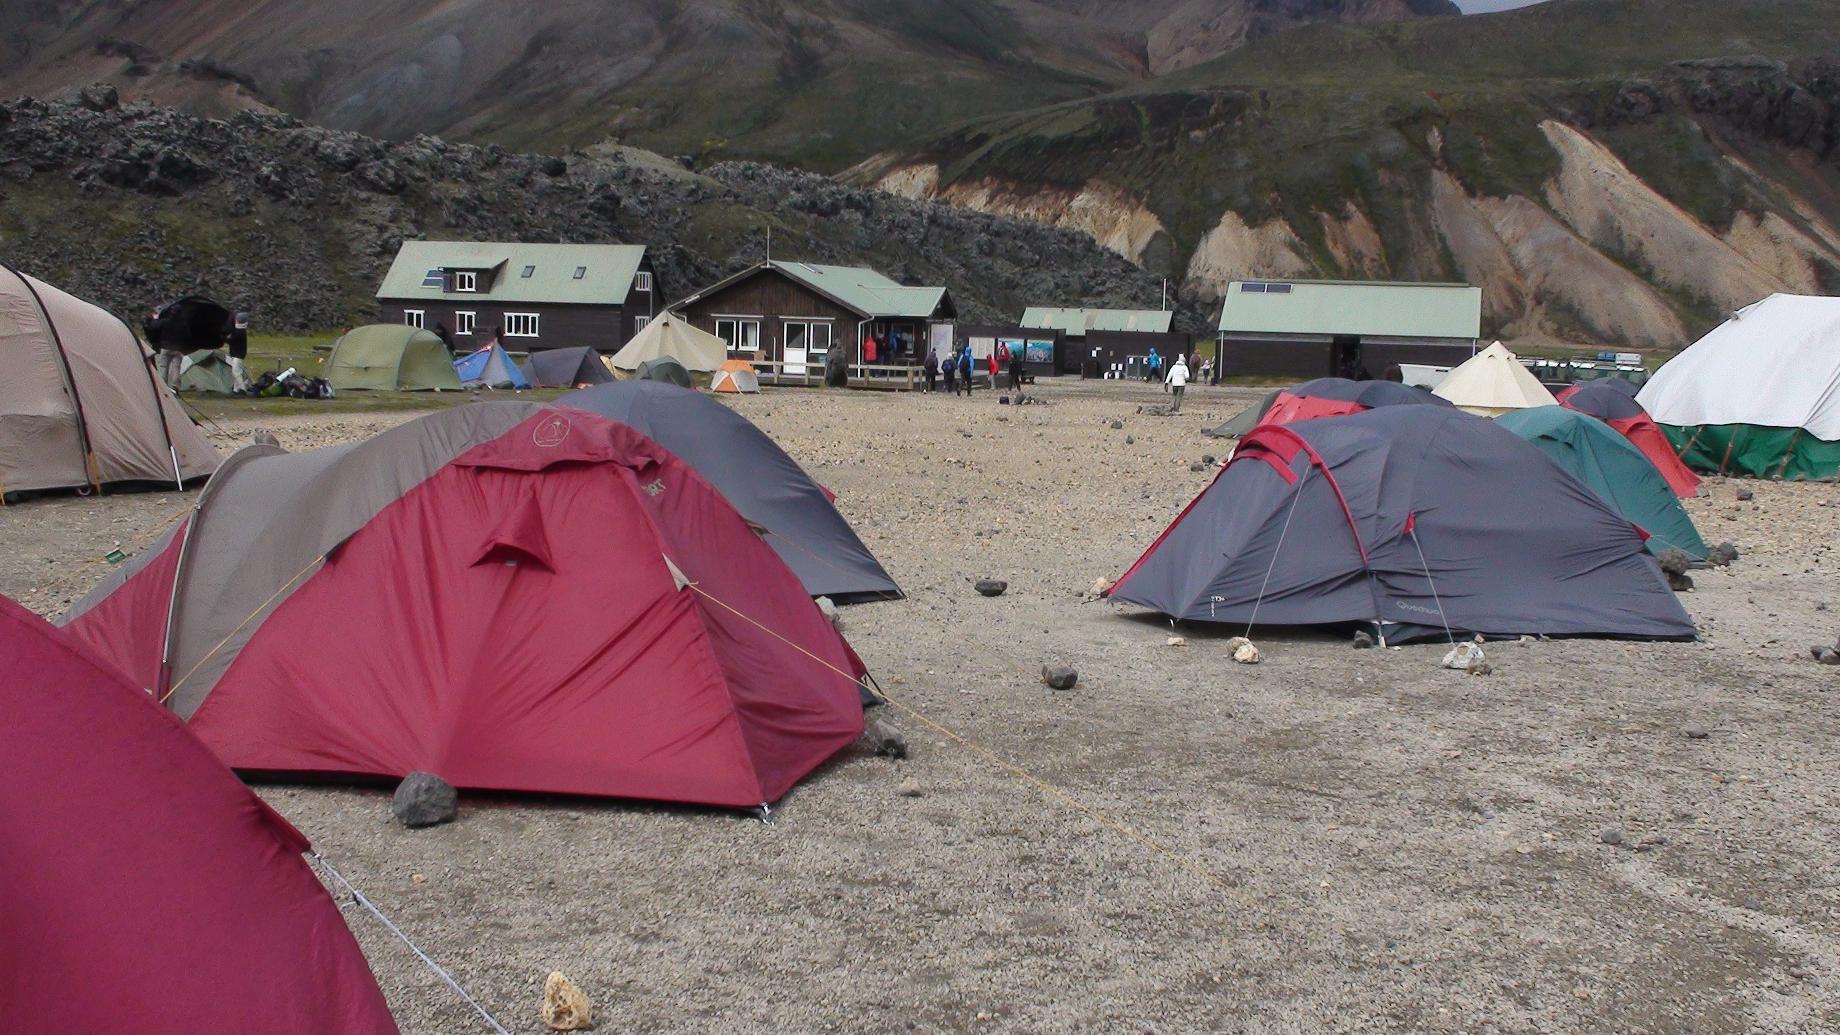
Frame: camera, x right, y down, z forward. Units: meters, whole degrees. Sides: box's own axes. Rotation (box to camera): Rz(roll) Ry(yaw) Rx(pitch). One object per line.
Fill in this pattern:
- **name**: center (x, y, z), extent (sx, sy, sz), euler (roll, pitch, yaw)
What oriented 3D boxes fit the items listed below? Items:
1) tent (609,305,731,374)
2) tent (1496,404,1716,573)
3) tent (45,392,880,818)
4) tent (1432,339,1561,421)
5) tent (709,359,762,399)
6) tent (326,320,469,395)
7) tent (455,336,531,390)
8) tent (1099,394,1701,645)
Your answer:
- **tent**: center (-8.941, -6.165, 49.770), extent (3.236, 1.431, 3.146), euler (-5, 9, -39)
- **tent**: center (9.005, -0.685, 18.553), extent (2.500, 1.087, 2.456), euler (-4, 14, -9)
- **tent**: center (-3.947, 0.947, 12.411), extent (5.145, 1.725, 4.234), euler (1, 10, 5)
- **tent**: center (11.963, -2.774, 28.742), extent (2.712, 1.149, 2.705), euler (2, 14, 10)
- **tent**: center (-5.869, -4.359, 44.093), extent (1.542, 0.637, 1.296), euler (1, 6, -1)
- **tent**: center (-14.784, -4.487, 39.210), extent (3.410, 1.360, 3.479), euler (11, 12, 42)
- **tent**: center (-12.930, -4.473, 41.765), extent (1.875, 0.891, 1.844), euler (1, 5, -3)
- **tent**: center (5.447, 0.292, 15.568), extent (4.181, 1.466, 3.171), euler (-3, 6, -6)
